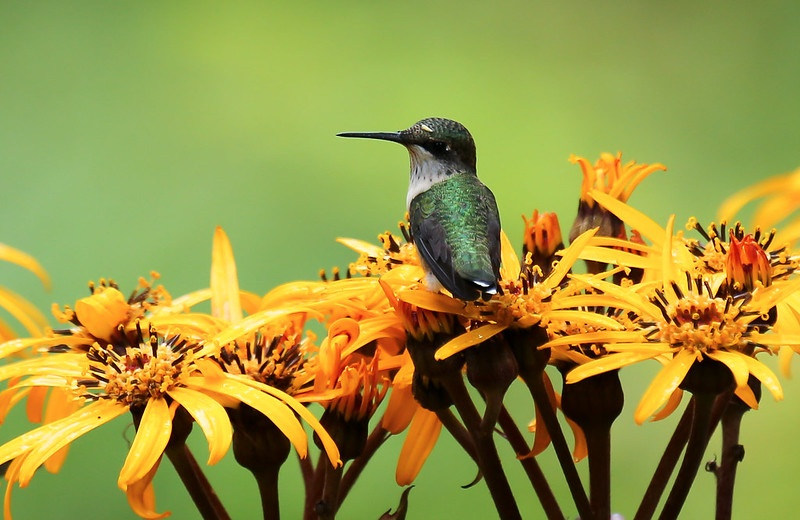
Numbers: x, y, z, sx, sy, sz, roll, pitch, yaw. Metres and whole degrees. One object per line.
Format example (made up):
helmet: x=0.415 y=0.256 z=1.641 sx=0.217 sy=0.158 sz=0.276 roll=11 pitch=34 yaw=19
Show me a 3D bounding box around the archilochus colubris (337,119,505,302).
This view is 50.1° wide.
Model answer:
archilochus colubris: x=0.050 y=-0.052 z=0.836 sx=0.184 sy=0.161 sz=0.071 roll=9 pitch=10 yaw=35
